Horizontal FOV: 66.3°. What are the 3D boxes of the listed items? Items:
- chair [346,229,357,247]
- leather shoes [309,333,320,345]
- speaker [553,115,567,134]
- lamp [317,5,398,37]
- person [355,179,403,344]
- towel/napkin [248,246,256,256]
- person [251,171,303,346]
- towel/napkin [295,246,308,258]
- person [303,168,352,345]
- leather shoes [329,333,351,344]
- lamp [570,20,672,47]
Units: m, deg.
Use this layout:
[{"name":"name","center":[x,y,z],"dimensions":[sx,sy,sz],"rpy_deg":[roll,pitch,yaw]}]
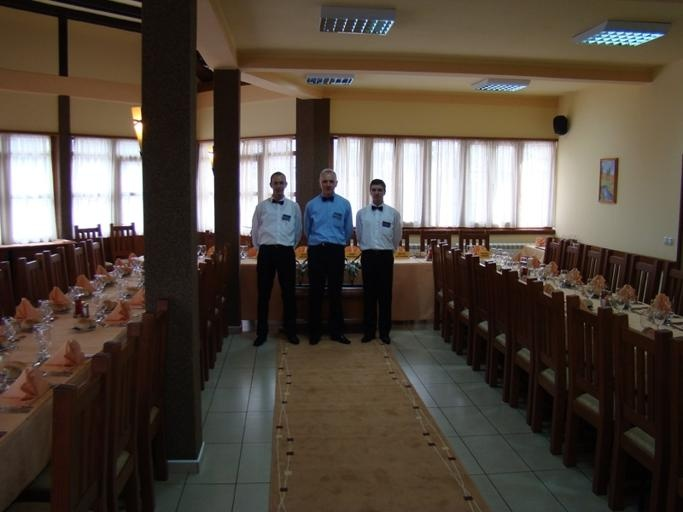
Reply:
[{"name":"chair","center":[0.164,-0.342,8.183],"dimensions":[0.227,0.264,0.353],"rpy_deg":[0,4,-1]},{"name":"leather shoes","center":[-0.299,0.925,5.858],"dimensions":[0.116,0.129,0.090],"rpy_deg":[2,6,-8]},{"name":"speaker","center":[3.787,-2.279,9.072],"dimensions":[0.235,0.337,0.344],"rpy_deg":[1,12,2]},{"name":"lamp","center":[0.160,-2.435,5.416],"dimensions":[0.747,0.175,0.691],"rpy_deg":[0,13,-3]},{"name":"person","center":[0.407,0.059,5.884],"dimensions":[0.497,1.810,0.362],"rpy_deg":[1,11,4]},{"name":"towel/napkin","center":[-1.185,-0.074,7.039],"dimensions":[0.124,0.104,0.133],"rpy_deg":[1,2,13]},{"name":"person","center":[-0.719,0.044,5.825],"dimensions":[0.552,1.917,0.436],"rpy_deg":[-1,11,-5]},{"name":"towel/napkin","center":[-0.511,-0.053,6.636],"dimensions":[0.138,0.146,0.111],"rpy_deg":[-1,-3,33]},{"name":"person","center":[-0.150,0.017,5.824],"dimensions":[0.525,1.924,0.434],"rpy_deg":[-1,11,-4]},{"name":"leather shoes","center":[-0.004,0.924,5.882],"dimensions":[0.214,0.096,0.091],"rpy_deg":[0,1,24]},{"name":"lamp","center":[2.963,-2.392,5.575],"dimensions":[0.807,0.167,0.540],"rpy_deg":[0,13,-1]}]
